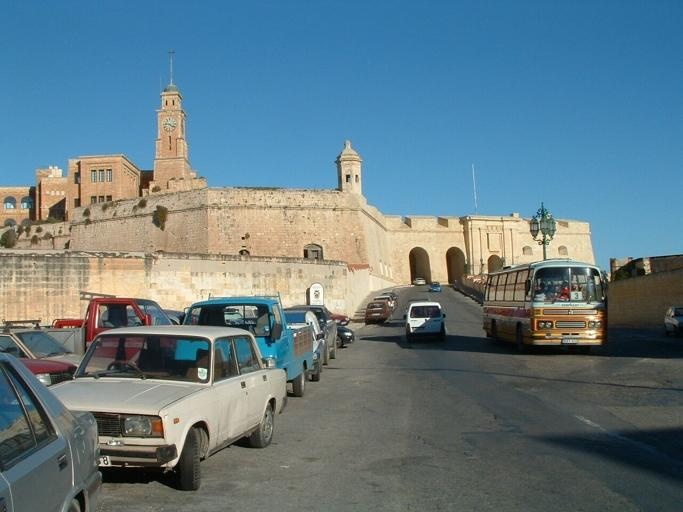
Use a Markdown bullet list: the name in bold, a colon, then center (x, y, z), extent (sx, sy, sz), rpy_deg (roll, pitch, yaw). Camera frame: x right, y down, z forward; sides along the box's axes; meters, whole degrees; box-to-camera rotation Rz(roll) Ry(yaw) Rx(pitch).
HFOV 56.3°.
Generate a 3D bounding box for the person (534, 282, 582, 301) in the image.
- **person**: center (7.101, 1.151, 20.891), extent (1.498, 0.533, 0.279), rpy_deg (-1, -3, -2)

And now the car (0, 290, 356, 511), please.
- **car**: center (-2.116, 2.008, 9.276), extent (2.059, 1.561, 3.772), rpy_deg (-2, -4, 13)
